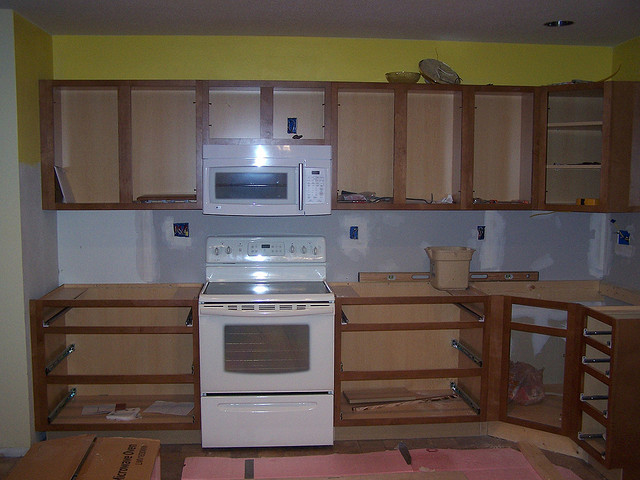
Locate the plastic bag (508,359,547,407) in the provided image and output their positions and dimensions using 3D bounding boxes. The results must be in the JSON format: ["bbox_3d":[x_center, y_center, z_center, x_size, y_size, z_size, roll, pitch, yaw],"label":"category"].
[{"bbox_3d":[1.535,1.067,4.204,0.274,0.308,0.142,-3,-3,11],"label":"plastic bag"}]

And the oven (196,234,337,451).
[{"bbox_3d":[-0.405,0.736,4.342,1.117,1.442,0.826,1,10,-1],"label":"oven"}]
